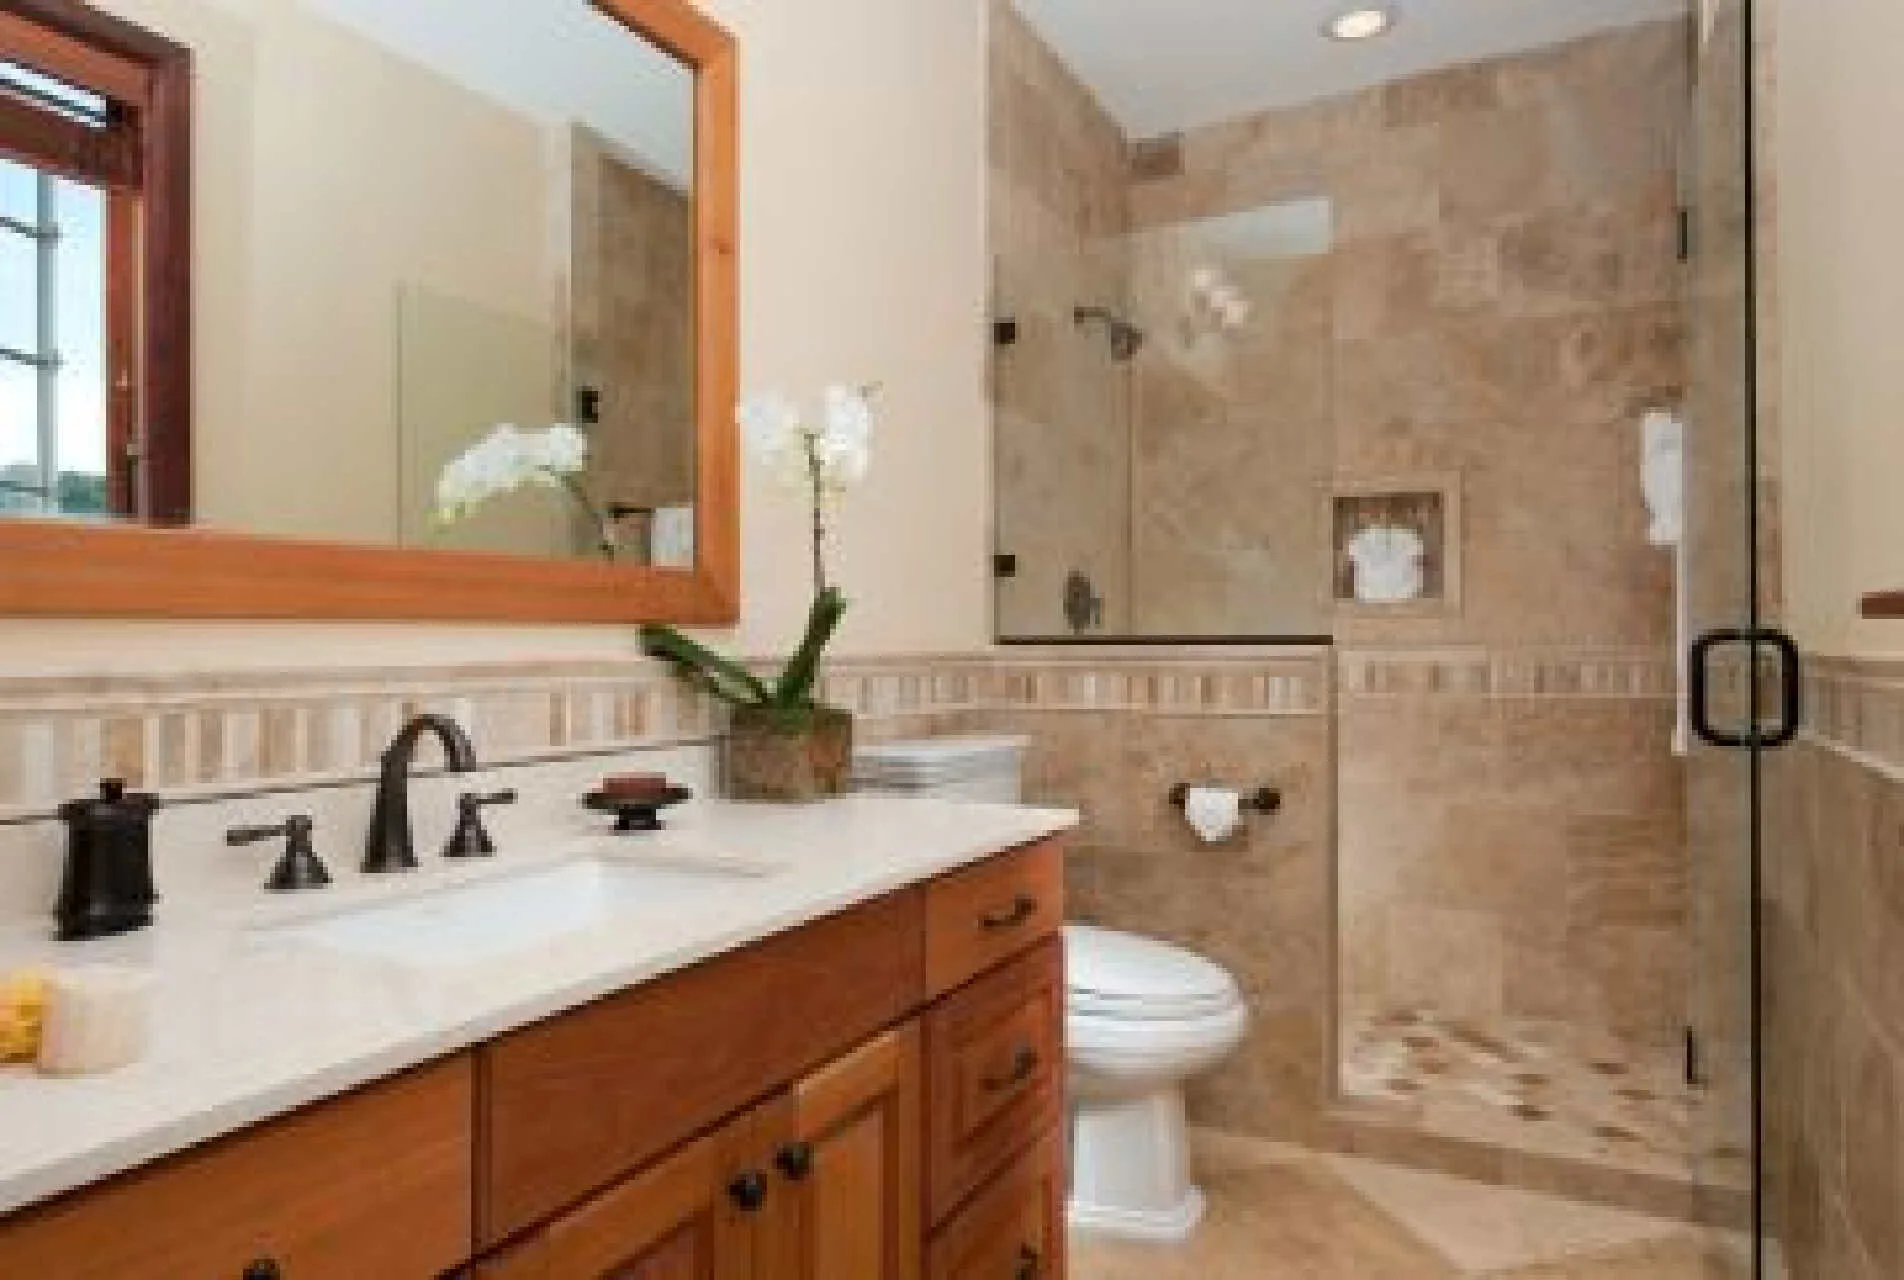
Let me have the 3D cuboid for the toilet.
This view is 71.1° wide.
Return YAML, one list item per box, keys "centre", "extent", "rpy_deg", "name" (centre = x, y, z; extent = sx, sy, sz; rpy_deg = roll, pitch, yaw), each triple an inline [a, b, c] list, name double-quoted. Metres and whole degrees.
- centre: [0.304, 0.786, 3.172]
  extent: [0.959, 1.080, 0.593]
  rpy_deg: [2, 8, 28]
  name: "toilet"

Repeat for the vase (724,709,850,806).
- centre: [-0.331, 0.212, 2.643]
  extent: [0.189, 0.168, 0.200]
  rpy_deg: [0, -1, 45]
  name: "vase"

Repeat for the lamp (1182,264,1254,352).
- centre: [0.675, -0.832, 3.446]
  extent: [0.172, 0.143, 0.211]
  rpy_deg: [-4, -9, 38]
  name: "lamp"

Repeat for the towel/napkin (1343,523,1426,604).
- centre: [1.349, -0.246, 4.165]
  extent: [0.216, 0.231, 0.082]
  rpy_deg: [1, 0, 33]
  name: "towel/napkin"

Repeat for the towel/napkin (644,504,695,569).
- centre: [-0.562, -0.208, 2.616]
  extent: [0.072, 0.128, 0.135]
  rpy_deg: [0, 0, 22]
  name: "towel/napkin"

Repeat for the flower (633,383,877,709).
- centre: [-0.323, -0.230, 2.937]
  extent: [0.586, 0.809, 0.751]
  rpy_deg: [2, -1, 8]
  name: "flower"

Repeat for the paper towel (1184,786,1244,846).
- centre: [0.634, 0.428, 3.242]
  extent: [0.128, 0.124, 0.120]
  rpy_deg: [-3, -5, 29]
  name: "paper towel"

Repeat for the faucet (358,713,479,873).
- centre: [-0.852, 0.237, 2.103]
  extent: [0.157, 0.255, 0.277]
  rpy_deg: [-3, 0, -25]
  name: "faucet"
